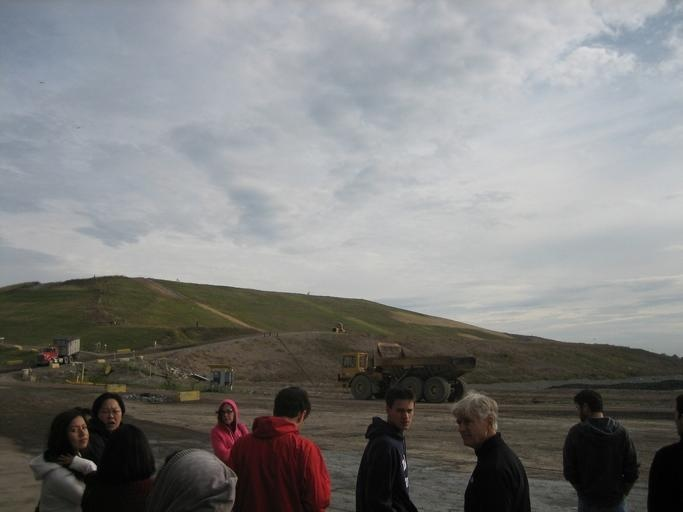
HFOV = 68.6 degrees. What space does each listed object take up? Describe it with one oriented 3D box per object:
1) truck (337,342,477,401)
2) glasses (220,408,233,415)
[{"bbox_3d":[3.781,7.324,30.321,4.046,3.801,6.996,8,1,-41],"label":"truck"},{"bbox_3d":[-1.447,1.934,6.263,0.111,0.098,0.128,-1,-27,-5],"label":"glasses"}]
